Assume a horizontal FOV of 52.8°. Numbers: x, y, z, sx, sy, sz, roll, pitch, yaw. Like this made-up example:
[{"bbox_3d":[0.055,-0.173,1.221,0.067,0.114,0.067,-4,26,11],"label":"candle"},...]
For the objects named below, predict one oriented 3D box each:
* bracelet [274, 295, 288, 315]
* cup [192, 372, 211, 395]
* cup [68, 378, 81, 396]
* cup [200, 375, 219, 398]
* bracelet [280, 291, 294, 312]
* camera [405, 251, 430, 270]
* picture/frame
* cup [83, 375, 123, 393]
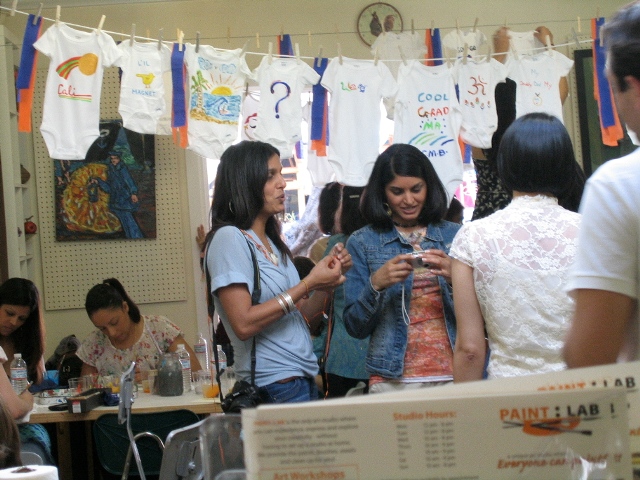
[{"bbox_3d":[-0.145,0.236,2.331,0.034,0.053,0.049,-14,2,-5],"label":"bracelet"},{"bbox_3d":[-0.709,0.853,3.850,0.119,0.108,0.114,-1,-2,0],"label":"cup"},{"bbox_3d":[-1.517,0.906,3.987,0.089,0.124,0.116,5,-20,-16],"label":"cup"},{"bbox_3d":[-0.632,0.842,3.754,0.108,0.128,0.123,1,-2,30],"label":"cup"},{"bbox_3d":[-0.119,0.223,2.344,0.038,0.058,0.054,-13,5,-3],"label":"bracelet"},{"bbox_3d":[0.360,0.078,2.375,0.069,0.054,0.081,-2,0,9],"label":"camera"},{"bbox_3d":[-1.647,-0.472,4.963,0.808,1.046,0.040,-1,1,-3],"label":"picture/frame"},{"bbox_3d":[-1.350,0.888,4.022,0.133,0.073,0.192,0,-3,8],"label":"cup"}]
